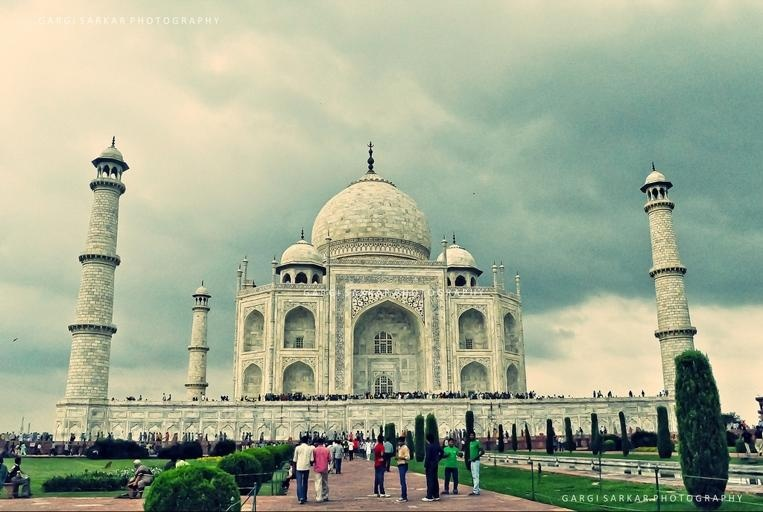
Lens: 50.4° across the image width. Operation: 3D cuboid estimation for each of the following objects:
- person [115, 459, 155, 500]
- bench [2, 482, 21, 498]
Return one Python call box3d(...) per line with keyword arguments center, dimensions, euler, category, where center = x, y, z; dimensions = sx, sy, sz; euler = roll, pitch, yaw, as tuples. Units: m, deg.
box3d(center=(-7.501, 6.891, 25.077), dimensions=(0.989, 1.067, 0.797), euler=(-6, -7, -21), category="person")
box3d(center=(-11.203, 7.096, 24.587), dimensions=(0.542, 0.502, 0.523), euler=(-2, -19, -14), category="bench")
